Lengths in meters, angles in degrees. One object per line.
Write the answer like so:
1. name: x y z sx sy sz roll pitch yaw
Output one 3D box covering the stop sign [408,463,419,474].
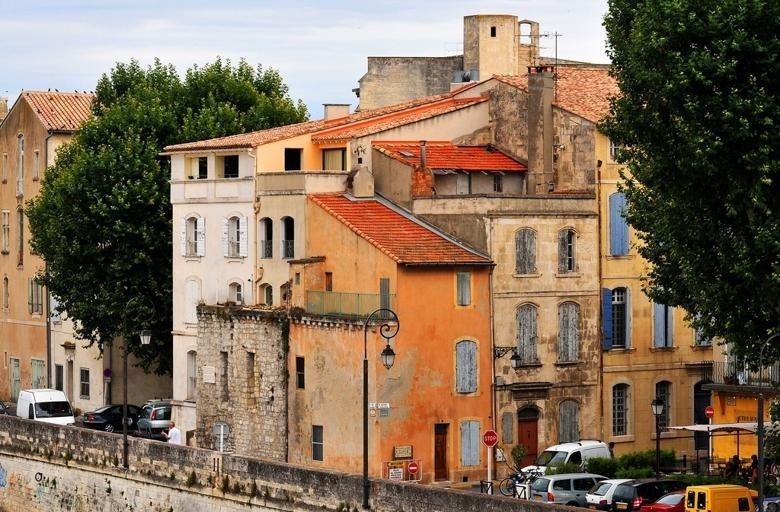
1. stop sign: 1.159 11.244 115.330 0.111 0.568 0.574 -8 -2 33
